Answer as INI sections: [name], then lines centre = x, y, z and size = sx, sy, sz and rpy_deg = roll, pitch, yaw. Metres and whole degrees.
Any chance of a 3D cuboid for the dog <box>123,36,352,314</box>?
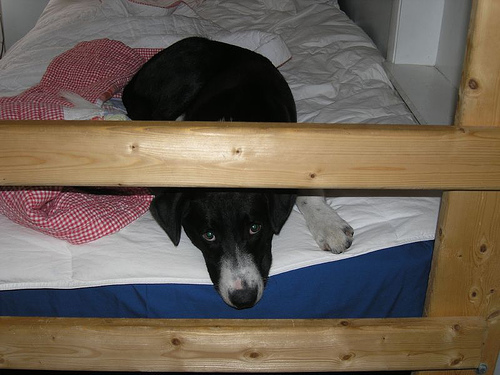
[dog]
centre = -0.104, -0.173, 1.855
size = 0.806, 1.222, 0.391
rpy_deg = -15, -33, -10
